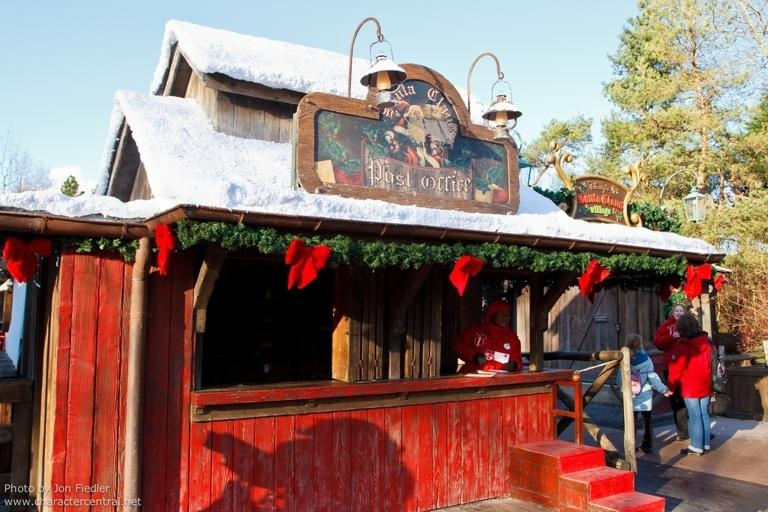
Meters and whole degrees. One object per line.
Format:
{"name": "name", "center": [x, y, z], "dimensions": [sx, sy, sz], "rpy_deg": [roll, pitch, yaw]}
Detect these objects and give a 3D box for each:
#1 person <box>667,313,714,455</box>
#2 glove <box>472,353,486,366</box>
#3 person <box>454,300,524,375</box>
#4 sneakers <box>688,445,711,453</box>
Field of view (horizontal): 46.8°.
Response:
{"name": "person", "center": [6.235, 2.582, 17.985], "dimensions": [0.810, 2.813, 0.503], "rpy_deg": [-2, -6, 19]}
{"name": "glove", "center": [1.753, 1.880, 16.208], "dimensions": [0.141, 0.081, 0.218], "rpy_deg": [1, 33, 20]}
{"name": "person", "center": [1.957, 1.496, 16.528], "dimensions": [1.219, 1.374, 0.718], "rpy_deg": [0, -6, 2]}
{"name": "sneakers", "center": [6.338, 3.907, 17.897], "dimensions": [0.418, 0.217, 0.186], "rpy_deg": [3, -7, 10]}
